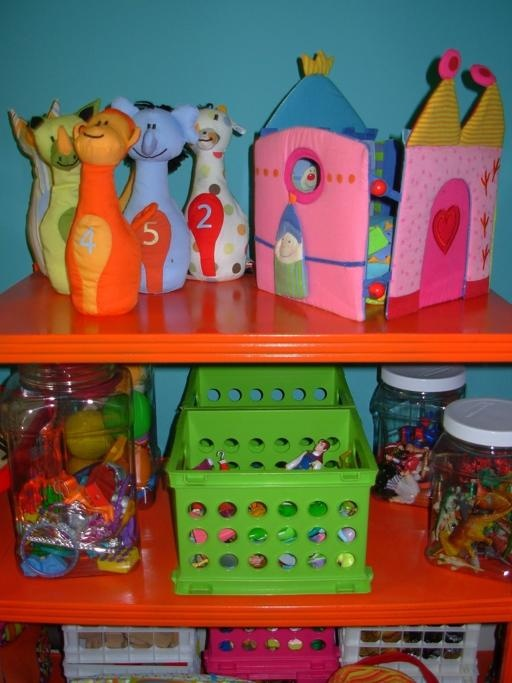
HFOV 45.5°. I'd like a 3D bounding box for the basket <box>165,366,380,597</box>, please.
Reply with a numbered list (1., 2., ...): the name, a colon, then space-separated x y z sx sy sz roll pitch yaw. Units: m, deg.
1. basket: 0.023 0.166 0.980 0.274 0.189 0.360 0 27 -2
